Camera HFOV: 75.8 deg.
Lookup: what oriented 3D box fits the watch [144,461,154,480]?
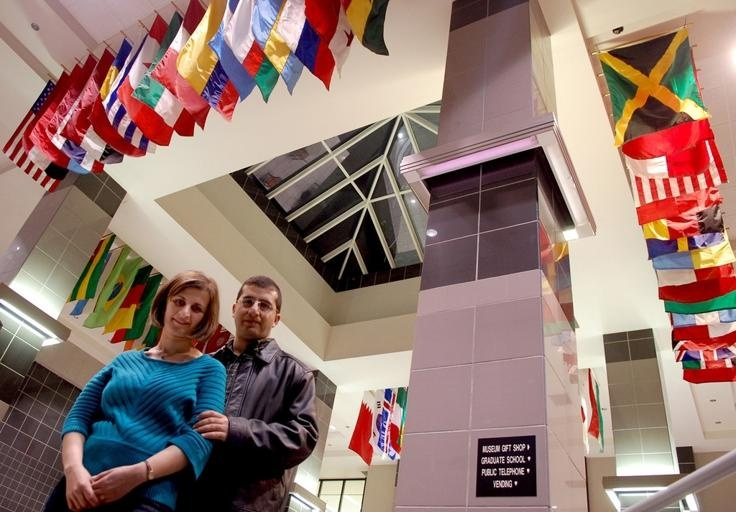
[{"bbox_3d":[-1.145,1.111,2.463,0.058,0.087,0.023,19,-34,-23],"label":"watch"}]

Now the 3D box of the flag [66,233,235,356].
[{"bbox_3d":[-3.483,0.450,7.564,0.301,1.460,2.252,-1,-40,52],"label":"flag"}]

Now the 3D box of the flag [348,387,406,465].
[{"bbox_3d":[0.253,4.519,12.673,1.384,2.024,1.426,5,-31,-1],"label":"flag"}]
